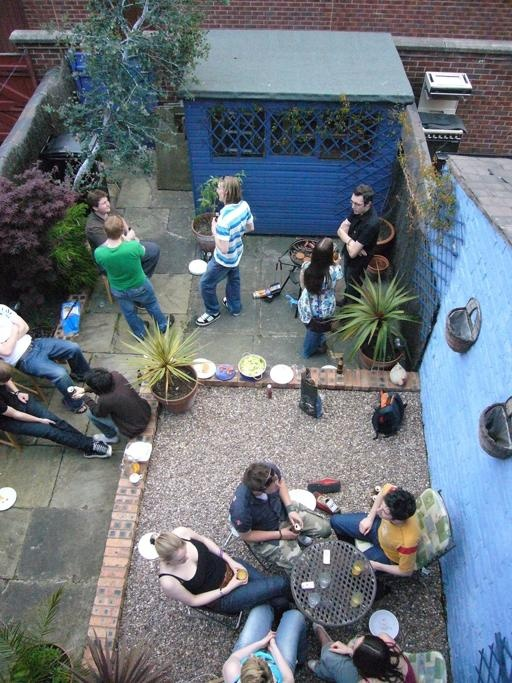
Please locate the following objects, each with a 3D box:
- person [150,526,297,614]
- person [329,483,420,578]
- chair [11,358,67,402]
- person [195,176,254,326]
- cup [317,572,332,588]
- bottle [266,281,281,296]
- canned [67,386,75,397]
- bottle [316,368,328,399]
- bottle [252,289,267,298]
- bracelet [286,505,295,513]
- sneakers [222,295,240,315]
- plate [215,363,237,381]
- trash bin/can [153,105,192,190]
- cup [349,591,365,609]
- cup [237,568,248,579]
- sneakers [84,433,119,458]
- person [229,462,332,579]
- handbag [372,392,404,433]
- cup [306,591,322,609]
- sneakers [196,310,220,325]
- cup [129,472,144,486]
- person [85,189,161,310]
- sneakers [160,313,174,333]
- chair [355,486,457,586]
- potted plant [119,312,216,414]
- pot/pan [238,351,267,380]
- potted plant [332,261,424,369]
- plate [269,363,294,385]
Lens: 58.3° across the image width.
[{"bbox_3d":[-0.134,1.541,3.029,0.782,1.086,0.449,-10,40,16],"label":"person"},{"bbox_3d":[0.856,1.404,3.386,0.589,1.110,0.565,2,45,7],"label":"person"},{"bbox_3d":[-2.206,0.399,4.687,0.276,0.255,0.374,-29,30,-32],"label":"chair"},{"bbox_3d":[-0.331,-0.932,5.198,0.330,1.902,0.695,29,63,19],"label":"person"},{"bbox_3d":[0.461,1.603,3.084,0.091,0.059,0.103,1,58,2],"label":"cup"},{"bbox_3d":[0.240,-0.664,6.038,0.187,0.184,0.109,-14,76,-2],"label":"bottle"},{"bbox_3d":[-1.883,0.516,4.699,0.051,0.082,0.086,4,50,-3],"label":"canned"},{"bbox_3d":[0.692,0.421,4.758,0.118,0.087,0.375,7,58,6],"label":"bottle"},{"bbox_3d":[0.044,-0.627,6.035,0.141,0.057,0.106,-7,66,15],"label":"bottle"},{"bbox_3d":[0.265,1.260,3.480,0.059,0.059,0.060,12,39,18],"label":"bracelet"},{"bbox_3d":[-0.307,-0.456,5.887,0.120,0.133,0.333,-13,42,-12],"label":"sneakers"},{"bbox_3d":[-0.313,0.330,4.788,0.212,0.065,0.172,4,58,4],"label":"plate"},{"bbox_3d":[-1.464,-3.389,7.717,0.575,0.680,1.954,-8,58,-3],"label":"trash bin/can"},{"bbox_3d":[0.655,1.682,2.984,0.102,0.048,0.075,-34,63,-18],"label":"cup"},{"bbox_3d":[-0.085,1.528,3.044,0.060,0.057,0.058,0,83,2],"label":"cup"},{"bbox_3d":[-1.487,1.031,4.545,0.396,0.170,0.158,-6,56,10],"label":"sneakers"},{"bbox_3d":[0.192,1.304,3.334,0.603,1.051,0.508,24,50,40],"label":"person"},{"bbox_3d":[1.247,0.655,4.377,0.309,0.190,0.455,6,30,30],"label":"handbag"},{"bbox_3d":[0.376,1.683,2.991,0.087,0.052,0.103,4,58,4],"label":"cup"},{"bbox_3d":[-0.608,-0.266,5.729,0.324,0.132,0.126,-26,73,-23],"label":"sneakers"},{"bbox_3d":[-1.053,1.212,4.043,0.112,0.053,0.097,-1,58,1],"label":"cup"},{"bbox_3d":[-1.520,-1.132,5.355,0.707,1.240,0.559,-6,38,7],"label":"person"},{"bbox_3d":[-1.031,-0.199,5.349,0.086,0.108,0.259,12,53,9],"label":"sneakers"},{"bbox_3d":[0.970,1.367,3.359,0.646,0.742,0.592,-8,48,-13],"label":"chair"},{"bbox_3d":[-0.853,0.288,4.517,0.520,0.676,0.835,3,75,-31],"label":"potted plant"},{"bbox_3d":[-0.040,0.272,4.819,0.291,0.145,0.304,13,59,9],"label":"pot/pan"},{"bbox_3d":[1.255,-0.117,4.696,0.732,0.852,0.881,-11,79,39],"label":"potted plant"},{"bbox_3d":[0.269,0.344,4.770,0.250,0.073,0.231,2,58,2],"label":"plate"}]
